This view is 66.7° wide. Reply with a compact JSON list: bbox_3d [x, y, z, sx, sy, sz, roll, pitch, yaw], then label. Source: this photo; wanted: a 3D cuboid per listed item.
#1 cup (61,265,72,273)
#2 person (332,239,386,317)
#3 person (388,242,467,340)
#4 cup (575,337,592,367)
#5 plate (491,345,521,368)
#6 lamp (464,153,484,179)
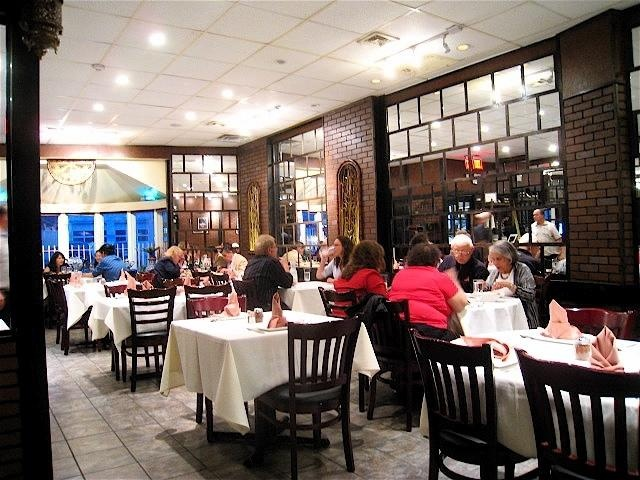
[{"bbox_3d":[-4.915,0.577,9.422,0.134,0.181,0.246,-5,4,-27],"label":"cup"},{"bbox_3d":[0.382,0.431,4.643,0.568,0.855,0.415,5,10,38],"label":"person"},{"bbox_3d":[0.946,0.416,4.127,0.452,0.796,0.586,-10,11,-28],"label":"person"},{"bbox_3d":[1.462,0.617,2.694,0.072,0.113,0.185,0,3,26],"label":"cup"},{"bbox_3d":[1.041,0.632,2.740,0.135,0.034,0.137,-2,-2,-13],"label":"plate"},{"bbox_3d":[2.204,-1.066,6.947,0.279,0.382,0.287,-1,4,6],"label":"lamp"}]
